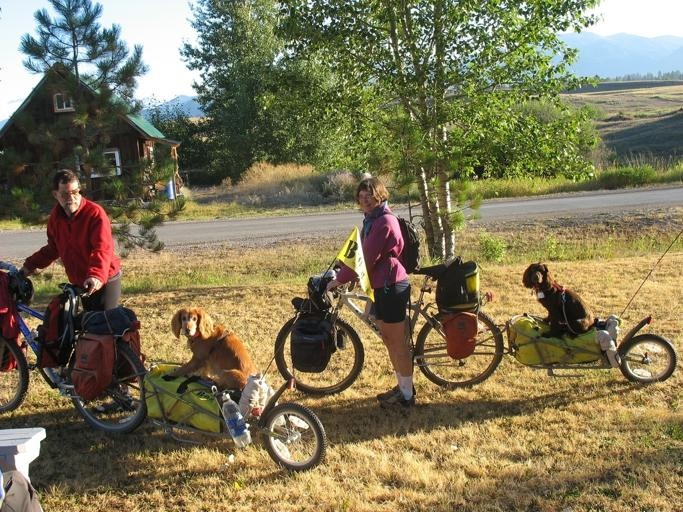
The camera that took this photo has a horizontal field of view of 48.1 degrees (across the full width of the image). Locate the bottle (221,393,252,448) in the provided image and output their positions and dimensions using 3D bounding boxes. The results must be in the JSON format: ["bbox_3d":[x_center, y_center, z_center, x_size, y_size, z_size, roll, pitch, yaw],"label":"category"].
[{"bbox_3d":[-1.352,2.060,9.689,0.365,0.698,0.292,-3,7,1],"label":"bottle"}]

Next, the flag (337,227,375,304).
[{"bbox_3d":[0.149,0.108,10.178,0.391,1.053,0.640,0,8,21],"label":"flag"}]

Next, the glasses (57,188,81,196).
[{"bbox_3d":[-3.630,-0.870,10.336,0.185,0.090,0.400,-2,8,10],"label":"glasses"}]

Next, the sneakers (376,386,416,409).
[{"bbox_3d":[0.777,1.948,10.719,0.426,0.211,0.273,3,3,0],"label":"sneakers"}]

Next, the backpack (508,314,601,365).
[{"bbox_3d":[2.993,1.124,10.865,0.810,0.405,0.701,2,1,0],"label":"backpack"}]

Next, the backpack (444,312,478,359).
[{"bbox_3d":[1.679,1.099,10.834,0.531,0.821,0.393,4,22,11],"label":"backpack"}]

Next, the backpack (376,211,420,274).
[{"bbox_3d":[0.768,-0.183,10.557,0.643,0.698,0.432,-3,12,-20],"label":"backpack"}]

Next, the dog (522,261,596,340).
[{"bbox_3d":[3.221,0.669,10.869,1.214,1.055,0.536,13,22,18],"label":"dog"}]
